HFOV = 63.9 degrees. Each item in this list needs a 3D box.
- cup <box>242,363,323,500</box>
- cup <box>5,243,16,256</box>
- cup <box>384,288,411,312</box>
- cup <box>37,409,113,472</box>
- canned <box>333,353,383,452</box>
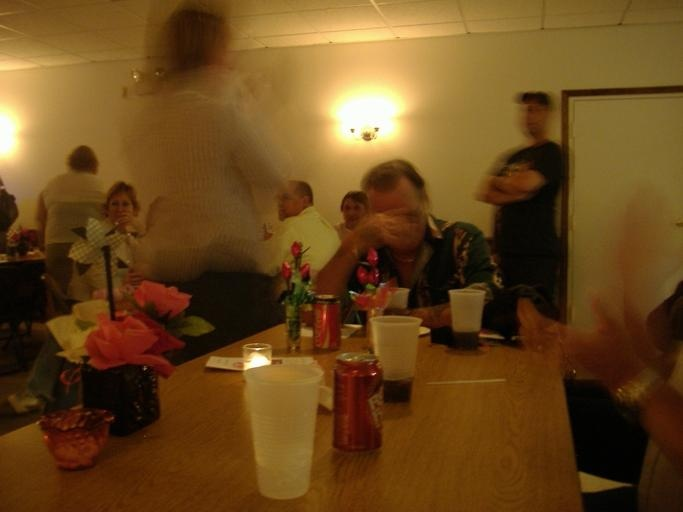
[{"bbox_3d":[-0.080,0.222,0.735,0.098,0.175,0.124,-1,8,-9],"label":"cup"},{"bbox_3d":[-1.604,-0.029,2.643,0.053,0.058,0.052,1,-7,0],"label":"cup"},{"bbox_3d":[0.154,0.121,1.494,0.055,0.051,0.068,0,1,-8],"label":"cup"},{"bbox_3d":[-0.387,0.265,0.797,0.093,0.066,0.071,4,8,20],"label":"cup"},{"bbox_3d":[0.024,0.217,0.814,0.073,0.142,0.038,1,8,1],"label":"canned"}]
